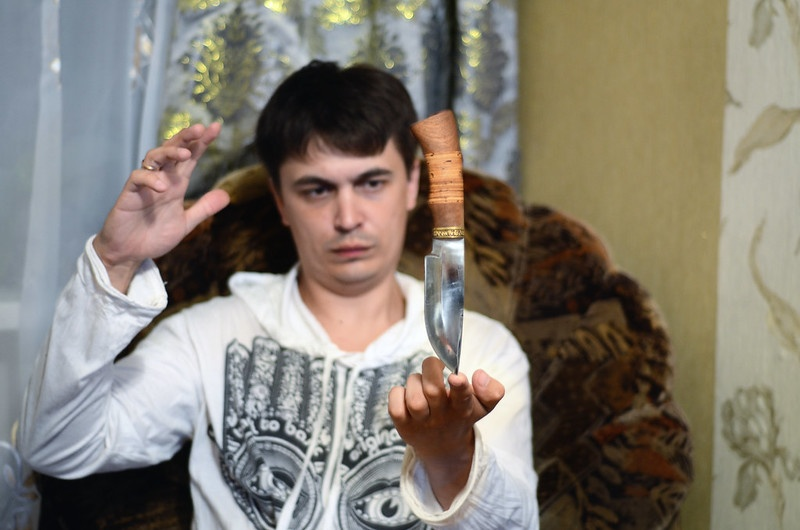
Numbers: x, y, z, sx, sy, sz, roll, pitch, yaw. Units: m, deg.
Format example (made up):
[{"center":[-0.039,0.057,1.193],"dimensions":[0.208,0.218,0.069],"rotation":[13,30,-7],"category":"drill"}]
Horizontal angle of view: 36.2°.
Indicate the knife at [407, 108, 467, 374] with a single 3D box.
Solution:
[{"center":[0.083,-0.059,2.737],"dimensions":[0.104,0.598,0.062],"rotation":[-4,-4,-17],"category":"knife"}]
